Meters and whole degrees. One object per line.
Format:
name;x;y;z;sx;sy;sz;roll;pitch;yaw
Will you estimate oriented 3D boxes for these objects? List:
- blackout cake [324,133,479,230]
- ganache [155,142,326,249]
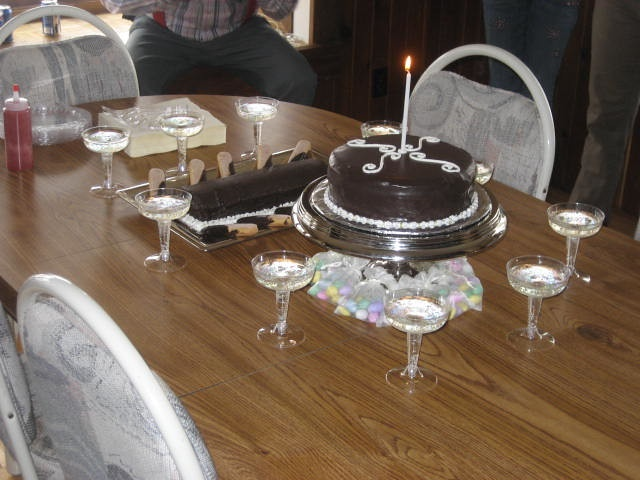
blackout cake;0.195;-0.151;1.241;0.390;0.183;0.325;10;29;18
ganache;-0.277;-0.147;1.498;0.536;0.201;0.365;-20;37;-35
